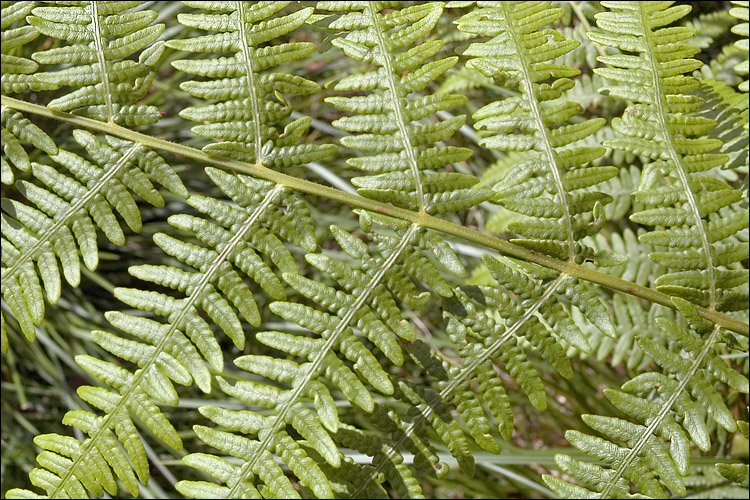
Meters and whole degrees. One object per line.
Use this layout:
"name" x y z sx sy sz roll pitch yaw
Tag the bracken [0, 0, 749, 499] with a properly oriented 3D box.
"bracken" -0.285 -0.078 3.063 2.380 0.845 1.824 -13 66 -2
